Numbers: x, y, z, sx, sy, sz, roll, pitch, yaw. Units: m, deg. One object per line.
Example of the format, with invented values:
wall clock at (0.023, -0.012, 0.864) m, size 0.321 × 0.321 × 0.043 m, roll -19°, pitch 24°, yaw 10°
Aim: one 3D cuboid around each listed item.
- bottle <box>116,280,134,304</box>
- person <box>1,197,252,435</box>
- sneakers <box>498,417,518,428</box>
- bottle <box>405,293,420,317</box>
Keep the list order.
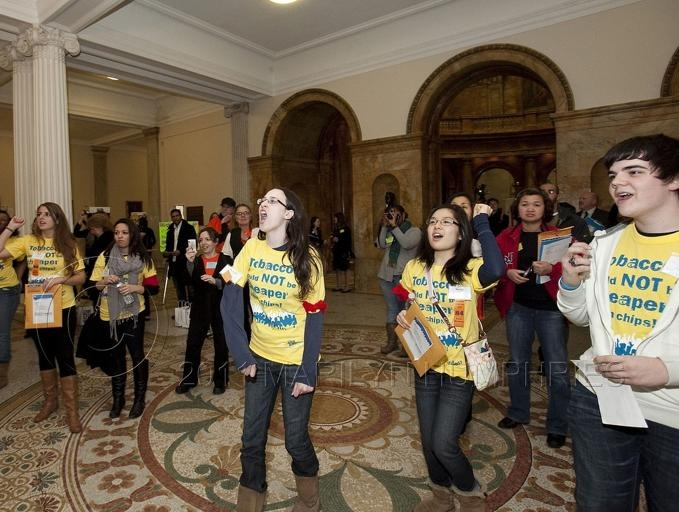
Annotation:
bottle at (-2.105, 0.366, 4.147) m, size 0.144 × 0.235 × 0.076 m, roll -6°, pitch 10°, yaw -31°
person at (-2.612, 0.558, 4.247) m, size 1.298 × 2.178 × 0.764 m, roll 0°, pitch 8°, yaw 3°
sneakers at (1.608, 1.597, 4.041) m, size 0.189 × 0.088 × 0.081 m, roll -6°, pitch 32°, yaw 16°
bottle at (0.510, 0.340, 2.976) m, size 0.043 × 0.145 × 0.097 m, roll 11°, pitch 4°, yaw 23°
